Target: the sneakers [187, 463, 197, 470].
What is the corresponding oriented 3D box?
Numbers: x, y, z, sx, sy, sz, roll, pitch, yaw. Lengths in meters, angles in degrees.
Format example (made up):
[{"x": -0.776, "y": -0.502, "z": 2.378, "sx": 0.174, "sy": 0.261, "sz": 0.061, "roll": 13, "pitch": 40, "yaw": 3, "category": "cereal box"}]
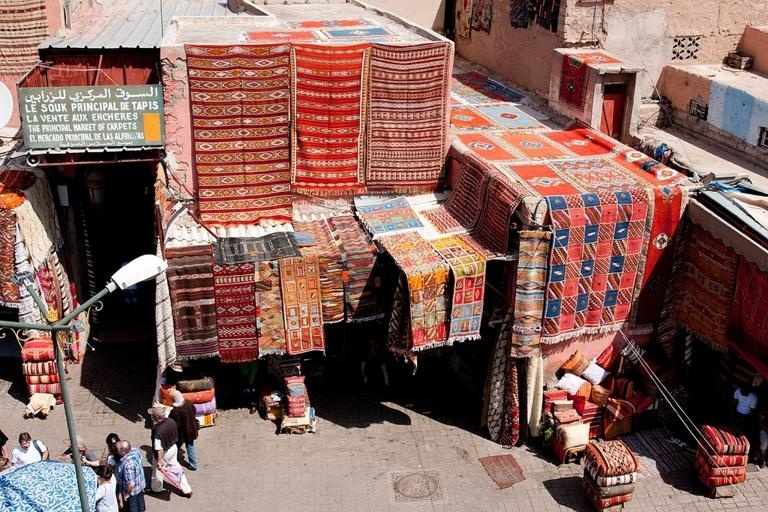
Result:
[{"x": -3.480, "y": 3.847, "z": 12.449, "sx": 0.160, "sy": 0.148, "sz": 0.093, "roll": -7, "pitch": 50, "yaw": -15, "category": "sneakers"}]
